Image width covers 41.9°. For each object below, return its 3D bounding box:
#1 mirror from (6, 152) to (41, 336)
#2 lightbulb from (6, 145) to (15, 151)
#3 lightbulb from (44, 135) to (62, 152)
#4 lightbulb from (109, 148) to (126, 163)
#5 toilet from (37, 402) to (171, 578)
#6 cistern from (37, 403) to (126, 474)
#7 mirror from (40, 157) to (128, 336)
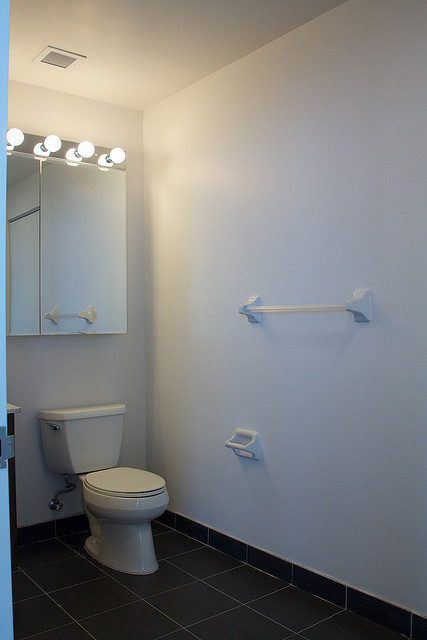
[{"bbox_3d":[-0.945,-0.378,2.798,0.160,0.895,0.082,0,-1,-25],"label":"mirror"},{"bbox_3d":[-0.996,-0.850,2.747,0.025,0.026,0.062,-1,-1,-10],"label":"lightbulb"},{"bbox_3d":[-0.801,-0.885,2.799,0.073,0.078,0.079,-15,20,-31],"label":"lightbulb"},{"bbox_3d":[-0.521,-0.894,3.039,0.074,0.076,0.073,-4,18,-14],"label":"lightbulb"},{"bbox_3d":[-0.505,0.811,2.767,0.479,0.693,0.730,-3,6,-40],"label":"toilet"},{"bbox_3d":[-0.690,0.633,2.990,0.267,0.320,0.458,-3,-3,39],"label":"cistern"},{"bbox_3d":[-0.687,-0.392,3.027,0.531,0.931,0.050,0,-2,-43],"label":"mirror"}]
